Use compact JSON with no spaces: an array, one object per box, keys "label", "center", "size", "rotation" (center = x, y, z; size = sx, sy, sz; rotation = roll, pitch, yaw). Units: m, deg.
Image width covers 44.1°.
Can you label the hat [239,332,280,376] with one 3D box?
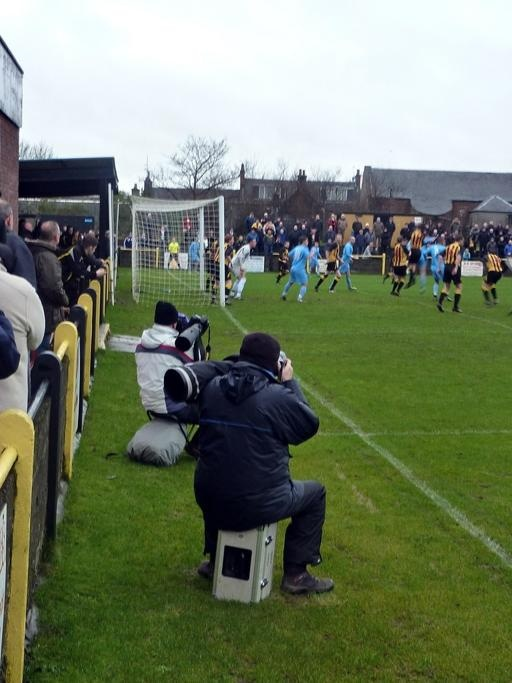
[{"label":"hat","center":[0.026,0.063,3.227],"size":[0.122,0.257,0.206],"rotation":[9,6,13]}]

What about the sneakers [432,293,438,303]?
[{"label":"sneakers","center":[5.544,-1.332,19.722],"size":[0.100,0.386,0.314],"rotation":[-2,26,7]}]

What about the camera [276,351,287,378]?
[{"label":"camera","center":[0.132,0.124,3.377],"size":[0.028,0.124,0.069],"rotation":[5,-7,-16]}]

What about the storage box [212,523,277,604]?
[{"label":"storage box","center":[-0.071,1.088,3.251],"size":[0.261,0.494,0.275],"rotation":[-4,18,-40]}]

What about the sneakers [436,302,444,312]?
[{"label":"sneakers","center":[4.777,-0.926,16.404],"size":[0.133,0.374,0.519],"rotation":[3,7,18]}]

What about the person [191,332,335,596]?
[{"label":"person","center":[0.005,0.629,3.280],"size":[0.484,1.407,0.575],"rotation":[-8,7,-34]}]

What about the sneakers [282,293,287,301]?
[{"label":"sneakers","center":[0.810,-1.315,18.761],"size":[0.097,0.333,0.246],"rotation":[-1,-3,9]}]

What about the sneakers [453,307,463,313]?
[{"label":"sneakers","center":[5.226,-0.812,16.606],"size":[0.090,0.204,0.342],"rotation":[1,2,-4]}]

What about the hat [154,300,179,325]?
[{"label":"hat","center":[-0.760,-0.227,5.350],"size":[0.185,0.198,0.266],"rotation":[1,7,-8]}]
